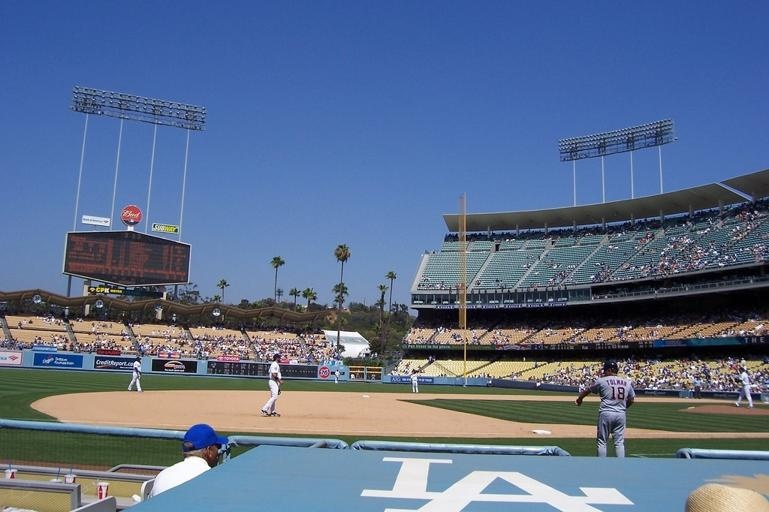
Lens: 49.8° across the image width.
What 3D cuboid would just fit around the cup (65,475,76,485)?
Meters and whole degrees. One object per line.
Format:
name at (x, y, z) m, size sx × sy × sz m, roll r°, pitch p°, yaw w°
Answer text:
cup at (-11.472, 8.263, 30.373) m, size 0.318 × 0.288 × 0.332 m, roll 3°, pitch -2°, yaw 0°

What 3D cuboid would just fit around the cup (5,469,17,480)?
cup at (-13.802, 8.125, 30.651) m, size 0.423 × 0.317 × 0.417 m, roll 1°, pitch -3°, yaw 0°
